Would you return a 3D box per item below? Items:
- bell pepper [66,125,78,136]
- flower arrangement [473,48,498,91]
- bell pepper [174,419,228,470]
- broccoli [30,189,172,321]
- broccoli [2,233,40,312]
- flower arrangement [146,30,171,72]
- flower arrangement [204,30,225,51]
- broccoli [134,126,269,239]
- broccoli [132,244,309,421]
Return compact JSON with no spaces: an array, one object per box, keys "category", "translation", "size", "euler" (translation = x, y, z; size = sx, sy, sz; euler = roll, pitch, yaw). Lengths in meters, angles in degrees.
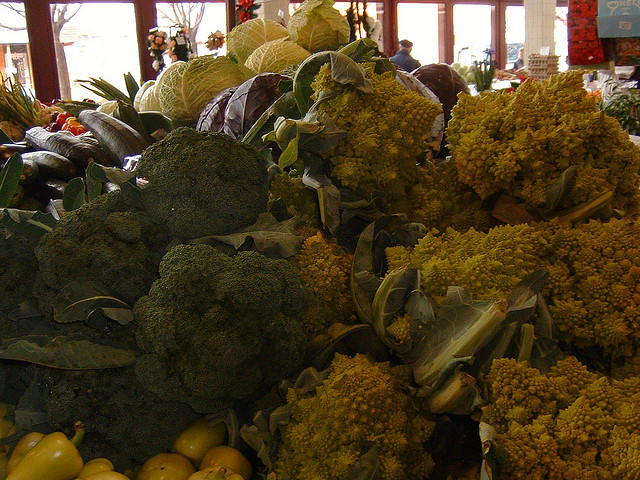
[{"category":"bell pepper","translation":[-1.607,-0.716,3.233],"size":[0.062,0.034,0.062],"euler":[21,19,-51]},{"category":"flower arrangement","translation":[1.273,-1.325,3.886],"size":[0.145,0.302,0.170],"euler":[8,42,24]},{"category":"bell pepper","translation":[-0.398,0.673,1.634],"size":[0.102,0.141,0.088],"euler":[34,-20,0]},{"category":"broccoli","translation":[-0.714,0.030,1.678],"size":[0.436,0.397,0.146],"euler":[-38,8,-5]},{"category":"broccoli","translation":[-1.007,0.108,1.656],"size":[0.081,0.224,0.204],"euler":[4,-5,44]},{"category":"flower arrangement","translation":[-2.326,-2.754,7.202],"size":[0.318,0.521,0.946],"euler":[-8,13,-16]},{"category":"flower arrangement","translation":[-1.538,-2.955,7.277],"size":[0.267,0.271,0.348],"euler":[-7,13,-10]},{"category":"broccoli","translation":[-0.384,-0.185,1.682],"size":[0.395,0.383,0.145],"euler":[16,-12,-8]},{"category":"broccoli","translation":[-0.351,0.232,1.818],"size":[0.590,0.535,0.566],"euler":[-4,10,-24]}]
